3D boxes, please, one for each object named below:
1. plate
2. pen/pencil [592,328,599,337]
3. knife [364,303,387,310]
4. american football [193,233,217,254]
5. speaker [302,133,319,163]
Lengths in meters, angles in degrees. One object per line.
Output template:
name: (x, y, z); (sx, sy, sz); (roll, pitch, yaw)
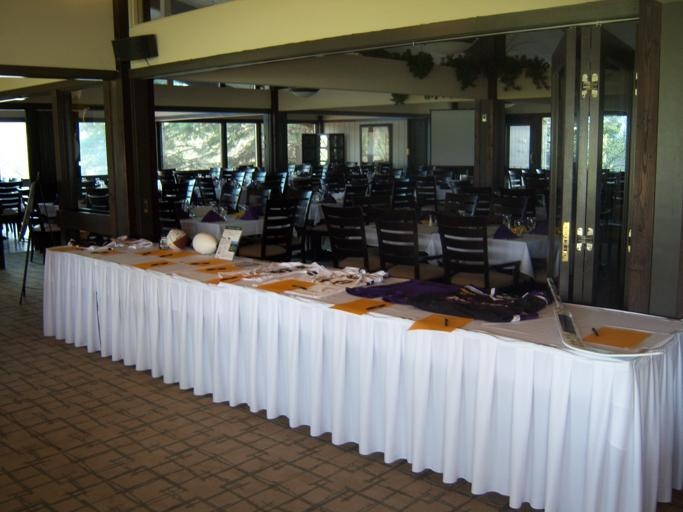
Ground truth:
plate: (1.214, 0.399, 2.239); (0.462, 0.069, 0.240); (0, 13, 7)
pen/pencil: (1.214, 0.364, 2.463); (0.013, 0.041, 0.009); (-21, 34, -7)
knife: (0.201, 0.284, 2.911); (0.071, 0.015, 0.043); (-11, 18, -5)
american football: (-1.185, -0.106, 4.576); (0.216, 0.148, 0.155); (6, 26, 25)
speaker: (-1.236, -4.449, 21.607); (0.413, 1.234, 0.914); (11, 19, 44)
